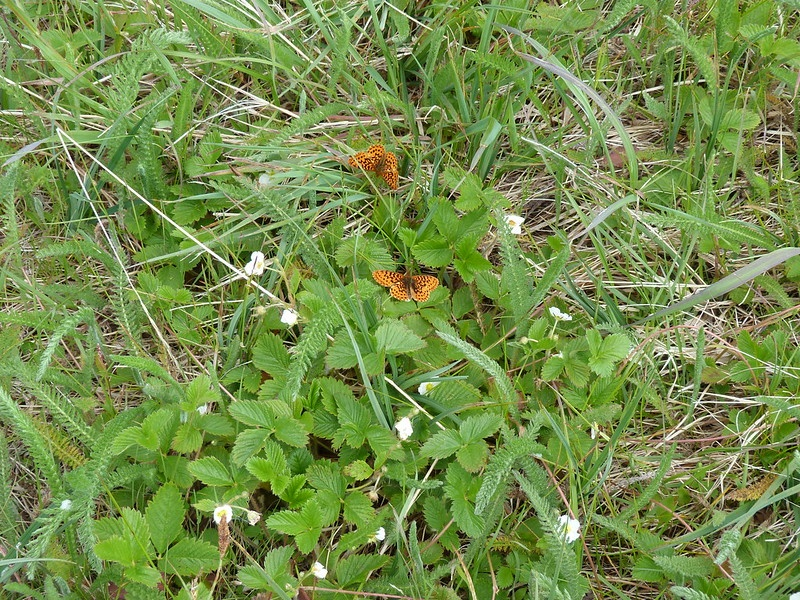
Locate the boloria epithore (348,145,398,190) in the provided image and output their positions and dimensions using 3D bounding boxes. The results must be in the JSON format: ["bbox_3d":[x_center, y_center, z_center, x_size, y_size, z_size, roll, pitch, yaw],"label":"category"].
[{"bbox_3d":[-0.114,-0.620,3.343,0.223,0.321,0.088,23,93,-9],"label":"boloria epithore"}]
